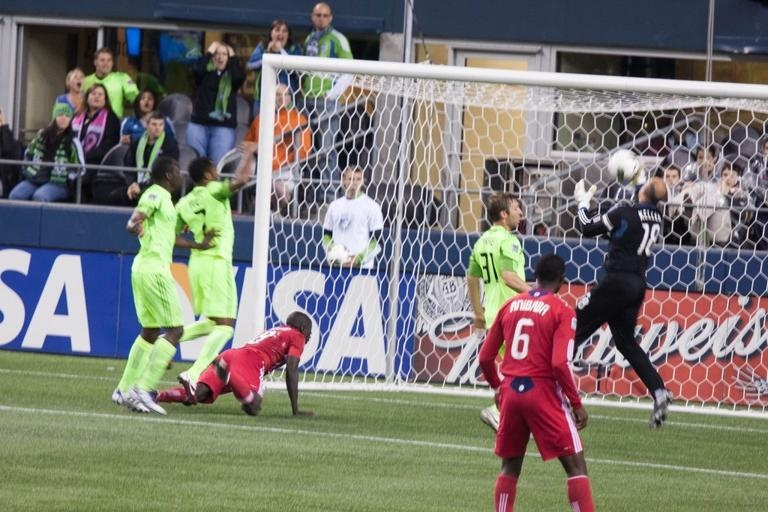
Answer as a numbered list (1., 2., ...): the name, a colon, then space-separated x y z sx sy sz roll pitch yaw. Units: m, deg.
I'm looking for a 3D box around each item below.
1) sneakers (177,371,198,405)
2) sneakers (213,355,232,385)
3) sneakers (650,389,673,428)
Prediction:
1. sneakers: -2.294 1.460 17.179 0.177 0.413 0.144 -19 8 -29
2. sneakers: -1.866 1.271 16.966 0.132 0.271 0.163 -23 13 -24
3. sneakers: 3.241 1.707 17.233 0.170 0.523 0.228 12 2 8
